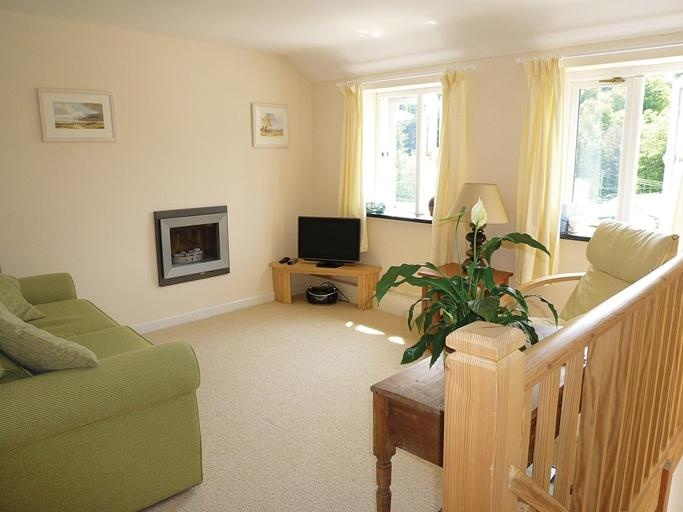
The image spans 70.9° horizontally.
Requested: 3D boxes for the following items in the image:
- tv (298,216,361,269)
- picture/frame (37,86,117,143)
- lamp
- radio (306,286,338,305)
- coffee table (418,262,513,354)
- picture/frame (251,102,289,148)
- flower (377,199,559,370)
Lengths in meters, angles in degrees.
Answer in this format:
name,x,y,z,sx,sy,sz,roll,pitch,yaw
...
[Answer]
name,x,y,z,sx,sy,sz,roll,pitch,yaw
tv,-0.145,-0.171,5.454,0.727,0.548,0.199,3,11,9
picture/frame,-2.327,-1.222,4.136,0.520,0.408,0.019,-8,13,-41
lamp,1.149,-0.249,4.074,0.455,0.775,0.477,5,2,-4
radio,-0.223,0.450,5.576,0.237,0.144,0.235,-7,11,-27
coffee table,1.111,0.398,4.264,0.615,0.610,0.605,-3,5,-43
picture/frame,-0.828,-1.466,5.344,0.021,0.558,0.562,-1,0,43
flower,0.556,0.142,2.101,0.722,0.740,0.806,1,-8,-33
